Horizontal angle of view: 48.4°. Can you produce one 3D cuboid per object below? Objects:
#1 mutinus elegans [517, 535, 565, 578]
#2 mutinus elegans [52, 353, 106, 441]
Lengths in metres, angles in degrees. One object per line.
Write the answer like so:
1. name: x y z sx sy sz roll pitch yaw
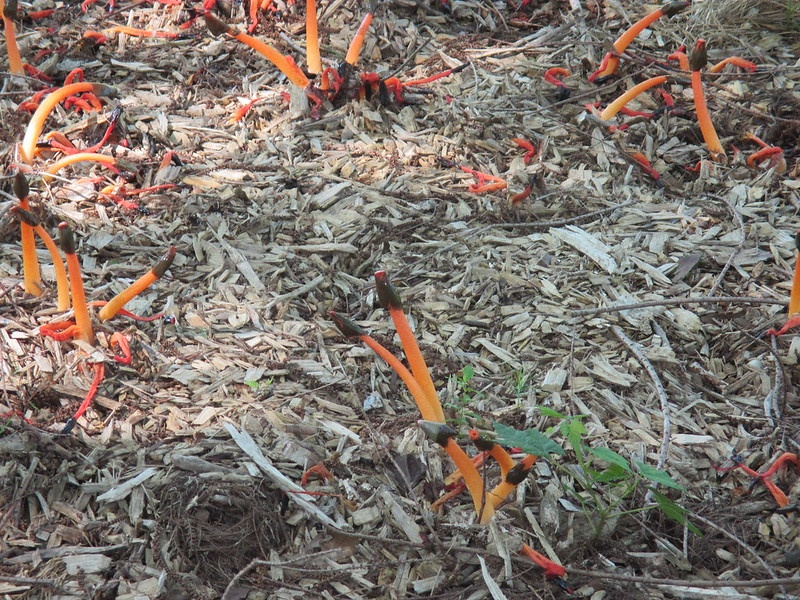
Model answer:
1. mutinus elegans: 0.573 1.127 3.924 0.281 0.076 0.084 23 21 28
2. mutinus elegans: -1.514 0.456 4.322 0.108 0.076 0.432 18 62 21
